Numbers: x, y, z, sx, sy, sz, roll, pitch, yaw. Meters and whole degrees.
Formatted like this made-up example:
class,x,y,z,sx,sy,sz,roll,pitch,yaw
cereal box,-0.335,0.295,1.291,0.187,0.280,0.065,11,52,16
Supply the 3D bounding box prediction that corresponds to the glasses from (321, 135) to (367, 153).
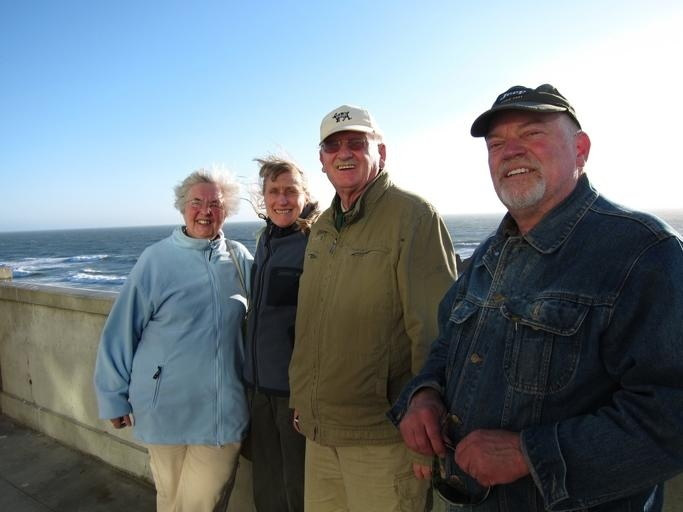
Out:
class,x,y,z,sx,sy,sz,roll,pitch,yaw
glasses,0.031,-0.792,3.940,0.171,0.057,0.181,-9,-8,12
